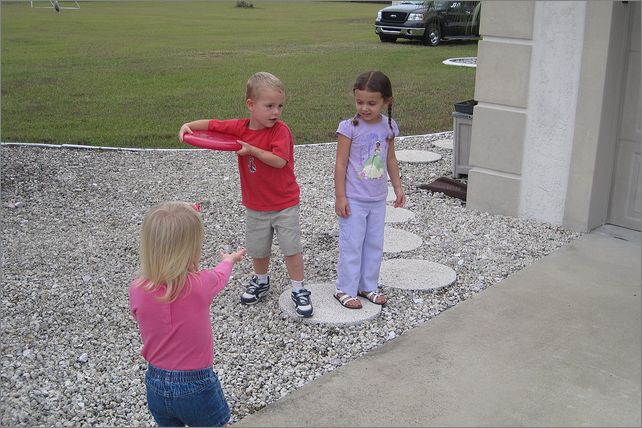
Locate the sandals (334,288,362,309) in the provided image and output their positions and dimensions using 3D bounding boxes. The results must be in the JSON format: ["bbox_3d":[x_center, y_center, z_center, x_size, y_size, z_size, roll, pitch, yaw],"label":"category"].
[{"bbox_3d":[0.233,0.727,4.407,0.105,0.088,0.218,-18,24,-38],"label":"sandals"}]

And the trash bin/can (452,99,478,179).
[{"bbox_3d":[1.947,-1.000,7.000,0.206,1.021,0.390,-4,22,-6],"label":"trash bin/can"}]

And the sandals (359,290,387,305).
[{"bbox_3d":[0.460,0.737,4.505,0.096,0.069,0.224,-16,21,-39],"label":"sandals"}]

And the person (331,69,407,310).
[{"bbox_3d":[0.411,-0.186,4.267,0.650,1.954,0.544,-5,23,-10],"label":"person"}]

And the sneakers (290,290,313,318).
[{"bbox_3d":[-0.154,0.758,4.274,0.109,0.111,0.283,-5,13,-16],"label":"sneakers"}]
